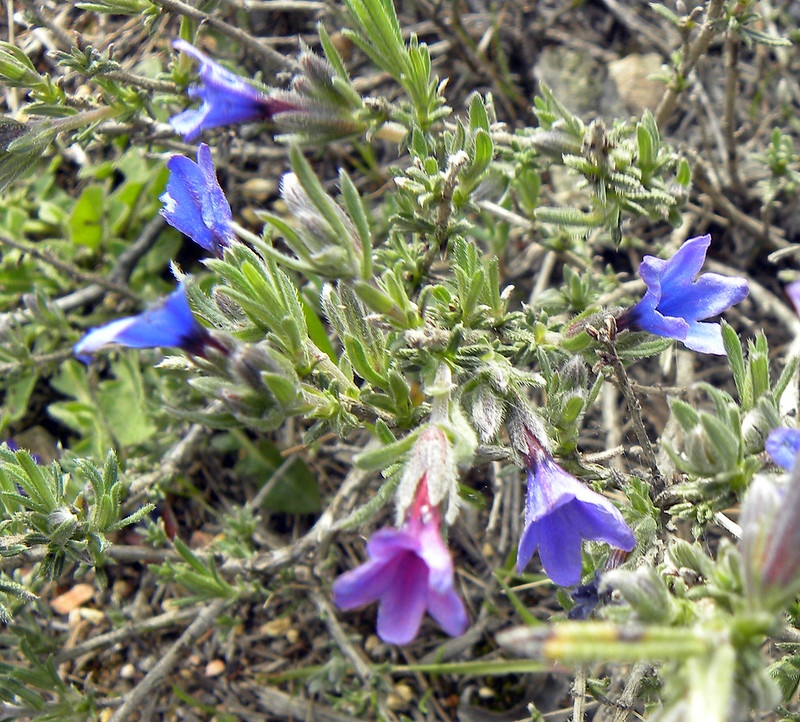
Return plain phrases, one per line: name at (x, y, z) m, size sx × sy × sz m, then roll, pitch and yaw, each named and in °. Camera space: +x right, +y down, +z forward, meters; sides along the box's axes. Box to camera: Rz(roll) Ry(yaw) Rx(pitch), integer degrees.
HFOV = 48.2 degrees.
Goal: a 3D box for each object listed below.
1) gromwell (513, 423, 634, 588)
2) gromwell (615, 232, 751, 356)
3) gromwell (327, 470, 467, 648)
gromwell at (0.538, 0.497, 2.782) m, size 0.287 × 0.275 × 0.443 m, roll -21°, pitch 47°, yaw 27°
gromwell at (0.954, -0.178, 3.059) m, size 0.379 × 0.310 × 0.417 m, roll -1°, pitch 83°, yaw -10°
gromwell at (0.047, 0.555, 2.607) m, size 0.310 × 0.311 × 0.526 m, roll 15°, pitch 18°, yaw 13°
